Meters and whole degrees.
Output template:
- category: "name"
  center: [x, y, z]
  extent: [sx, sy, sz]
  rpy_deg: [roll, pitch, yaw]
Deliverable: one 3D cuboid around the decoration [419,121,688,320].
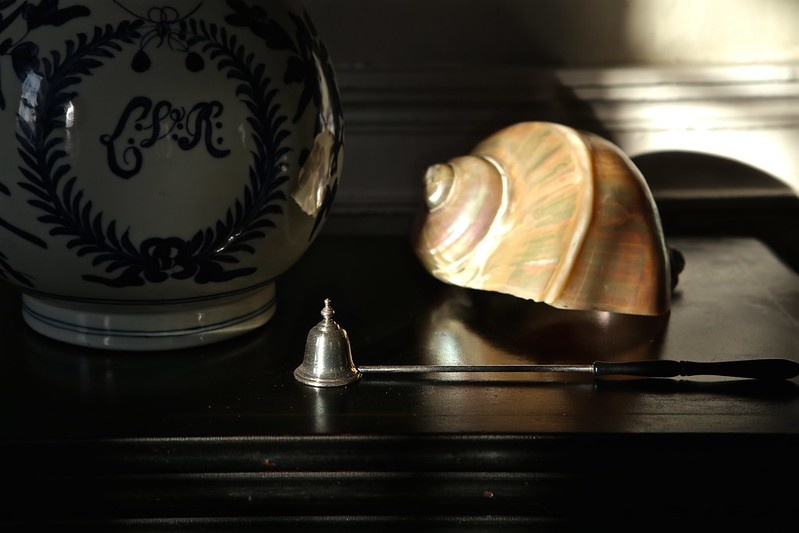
- category: "decoration"
  center: [0.146, -0.038, 0.914]
  extent: [0.238, 0.149, 0.171]
  rpy_deg: [16, 42, 22]
